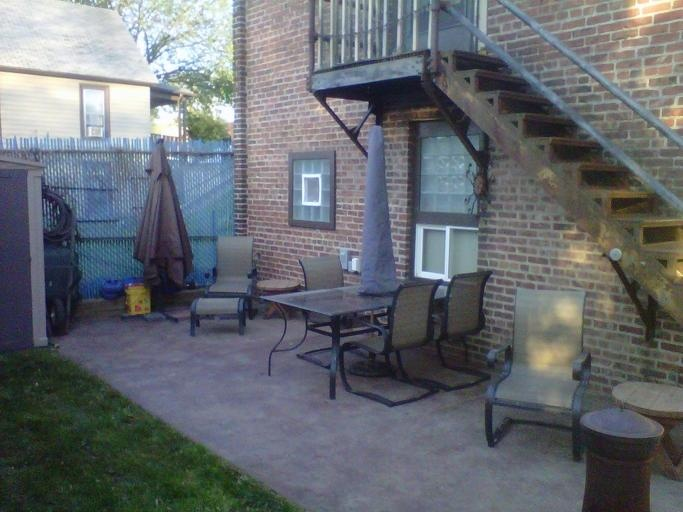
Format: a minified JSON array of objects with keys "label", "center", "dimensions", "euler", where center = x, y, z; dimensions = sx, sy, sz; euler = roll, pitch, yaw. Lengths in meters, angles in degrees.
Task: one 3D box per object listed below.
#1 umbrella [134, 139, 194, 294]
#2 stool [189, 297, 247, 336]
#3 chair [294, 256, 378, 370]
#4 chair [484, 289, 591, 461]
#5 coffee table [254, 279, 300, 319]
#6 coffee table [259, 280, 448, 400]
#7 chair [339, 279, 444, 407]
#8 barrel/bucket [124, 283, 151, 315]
[{"label":"umbrella","center":[-2.881,-0.651,10.118],"dimensions":[0.688,2.361,0.622],"euler":[6,11,25]},{"label":"stool","center":[-1.888,0.856,9.606],"dimensions":[0.834,0.602,1.182],"euler":[-1,10,-11]},{"label":"chair","center":[0.156,0.679,8.419],"dimensions":[1.067,1.784,1.260],"euler":[-2,2,-34]},{"label":"chair","center":[2.011,1.095,6.349],"dimensions":[0.946,1.367,1.293],"euler":[5,11,23]},{"label":"coffee table","center":[-1.063,0.645,10.450],"dimensions":[0.637,0.506,0.646],"euler":[-2,4,-29]},{"label":"coffee table","center":[0.129,0.800,7.424],"dimensions":[1.359,1.152,1.642],"euler":[-4,7,-40]},{"label":"chair","center":[0.573,0.914,7.228],"dimensions":[0.829,1.367,0.967],"euler":[-6,9,-41]},{"label":"barrel/bucket","center":[-3.438,0.682,10.639],"dimensions":[0.427,0.519,0.441],"euler":[5,17,-2]}]
